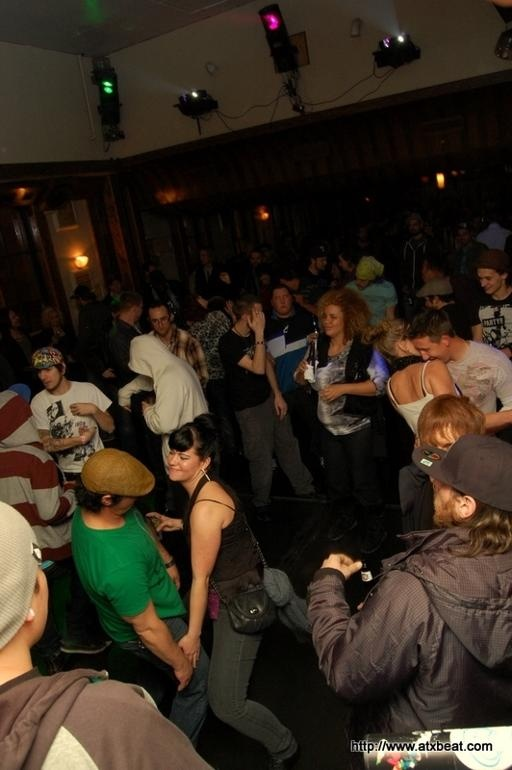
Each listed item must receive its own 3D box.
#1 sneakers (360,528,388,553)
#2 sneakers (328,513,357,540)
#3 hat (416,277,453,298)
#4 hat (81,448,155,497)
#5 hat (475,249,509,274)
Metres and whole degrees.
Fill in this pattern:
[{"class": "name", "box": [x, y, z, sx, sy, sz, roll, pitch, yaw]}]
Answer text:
[{"class": "sneakers", "box": [0.819, 1.079, 3.748, 0.092, 0.113, 0.260, -34, 4, 39]}, {"class": "sneakers", "box": [0.648, 1.055, 3.956, 0.206, 0.136, 0.068, -22, 37, -33]}, {"class": "hat", "box": [1.463, -0.800, 4.358, 0.237, 0.114, 0.172, 7, 16, 27]}, {"class": "hat", "box": [-0.537, 0.363, 2.151, 0.251, 0.119, 0.174, 3, 43, -38]}, {"class": "hat", "box": [1.755, -0.909, 3.992, 0.201, 0.095, 0.198, -6, 8, -8]}]
